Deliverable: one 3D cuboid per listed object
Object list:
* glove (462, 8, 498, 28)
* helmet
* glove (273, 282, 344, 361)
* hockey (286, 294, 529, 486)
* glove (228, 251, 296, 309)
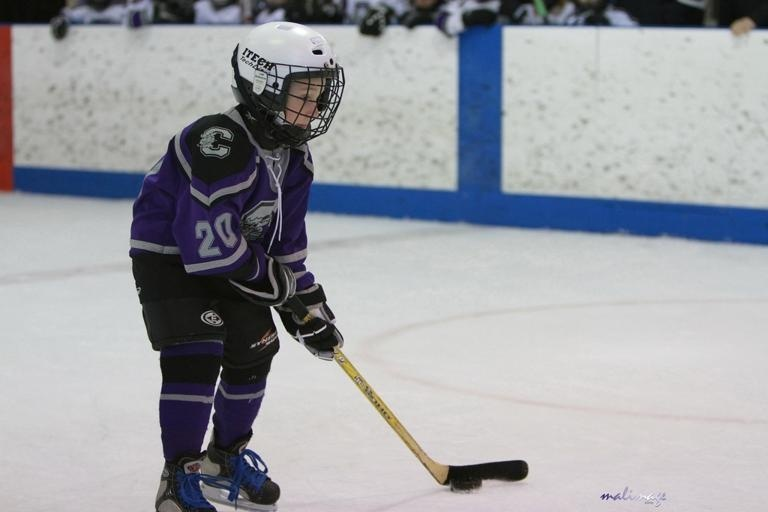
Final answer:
[{"bbox_3d":[0.604,-1.507,5.216,0.185,0.104,0.074,0,13,0],"label":"glove"},{"bbox_3d":[-0.224,-0.475,2.294,0.364,0.326,0.312,10,15,22],"label":"helmet"},{"bbox_3d":[-0.200,0.190,2.457,0.245,0.105,0.177,41,21,-14],"label":"glove"},{"bbox_3d":[0.020,0.375,2.306,1.075,0.144,0.102,44,5,-24],"label":"hockey"},{"bbox_3d":[-0.338,0.063,2.310,0.172,0.123,0.085,9,40,-10],"label":"glove"}]
